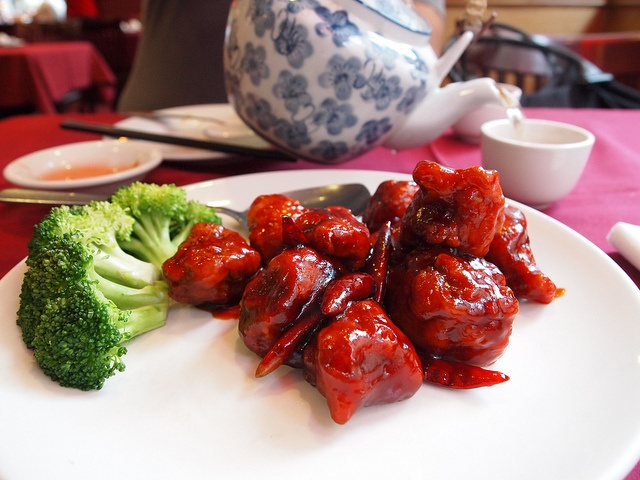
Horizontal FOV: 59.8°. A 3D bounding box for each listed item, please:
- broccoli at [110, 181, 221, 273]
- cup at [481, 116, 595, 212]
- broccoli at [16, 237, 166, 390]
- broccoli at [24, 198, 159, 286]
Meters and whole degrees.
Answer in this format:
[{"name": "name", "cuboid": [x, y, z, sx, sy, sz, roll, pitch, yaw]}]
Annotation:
[{"name": "broccoli", "cuboid": [-0.517, -0.043, 1.688, 0.238, 0.220, 0.250, 7, 66, -61]}, {"name": "cup", "cuboid": [0.804, -0.293, 2.033, 0.430, 0.315, 0.301, 4, 13, 29]}, {"name": "broccoli", "cuboid": [-0.568, 0.155, 1.336, 0.202, 0.298, 0.345, 7, 13, 32]}, {"name": "broccoli", "cuboid": [-0.597, -0.004, 1.494, 0.264, 0.145, 0.240, 27, 38, 11]}]
